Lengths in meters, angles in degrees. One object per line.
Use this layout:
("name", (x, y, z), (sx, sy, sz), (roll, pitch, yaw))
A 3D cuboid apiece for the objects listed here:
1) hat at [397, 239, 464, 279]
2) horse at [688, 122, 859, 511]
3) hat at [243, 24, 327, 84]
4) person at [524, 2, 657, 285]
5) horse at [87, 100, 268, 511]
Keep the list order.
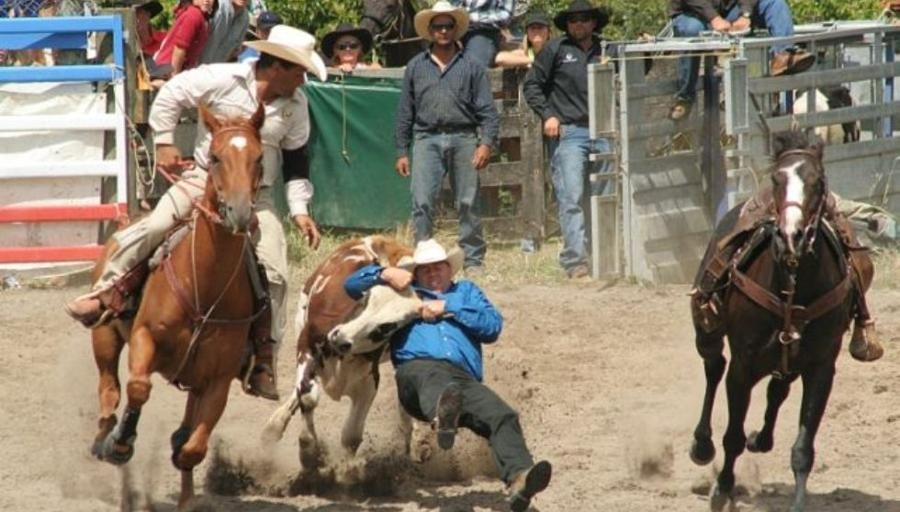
("hat", (-0.228, -0.074, 19.650), (0.778, 0.286, 0.811), (-12, 31, -13))
("horse", (3.823, 0.794, 19.400), (1.812, 4.505, 1.104), (0, 8, 20))
("hat", (-1.974, -2.417, 19.624), (0.802, 0.337, 0.660), (25, -8, -6))
("person", (1.710, -1.702, 23.670), (1.194, 3.971, 0.970), (-3, 7, -5))
("horse", (-3.067, 0.619, 18.921), (2.004, 4.634, 0.771), (-2, 7, 5))
